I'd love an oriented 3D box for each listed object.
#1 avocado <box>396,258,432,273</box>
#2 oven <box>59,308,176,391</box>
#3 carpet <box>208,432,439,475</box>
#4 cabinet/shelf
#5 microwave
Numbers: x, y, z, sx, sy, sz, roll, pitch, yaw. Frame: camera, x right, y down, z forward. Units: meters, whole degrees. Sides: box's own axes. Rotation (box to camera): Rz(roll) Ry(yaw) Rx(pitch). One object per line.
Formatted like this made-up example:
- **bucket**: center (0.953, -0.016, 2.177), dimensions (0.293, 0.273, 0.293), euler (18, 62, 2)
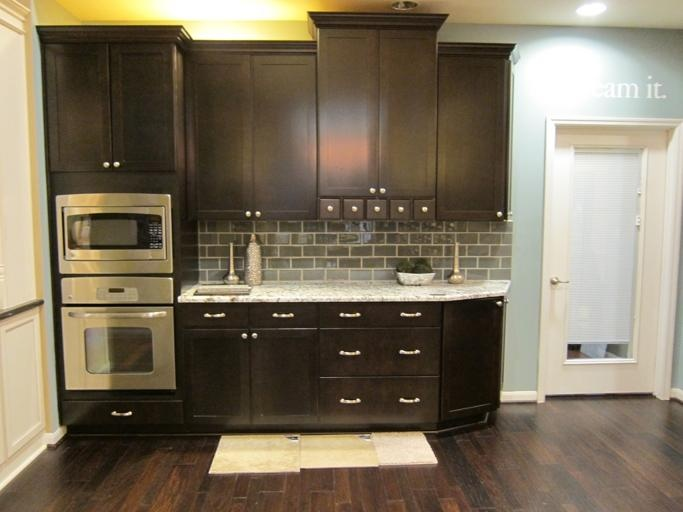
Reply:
- **avocado**: center (0.621, 0.094, 4.841), dimensions (0.161, 0.090, 0.209), euler (-1, -3, 37)
- **oven**: center (-1.679, 0.682, 4.503), dimensions (0.981, 0.646, 0.621), euler (0, -1, -6)
- **carpet**: center (-0.136, 1.439, 4.345), dimensions (1.616, 0.118, 0.453), euler (-2, 5, -4)
- **cabinet/shelf**: center (-0.574, -0.274, 4.516), dimensions (3.675, 2.998, 0.959), euler (0, 2, -3)
- **microwave**: center (-1.700, -0.157, 4.569), dimensions (0.864, 0.592, 0.425), euler (-1, 2, -3)
